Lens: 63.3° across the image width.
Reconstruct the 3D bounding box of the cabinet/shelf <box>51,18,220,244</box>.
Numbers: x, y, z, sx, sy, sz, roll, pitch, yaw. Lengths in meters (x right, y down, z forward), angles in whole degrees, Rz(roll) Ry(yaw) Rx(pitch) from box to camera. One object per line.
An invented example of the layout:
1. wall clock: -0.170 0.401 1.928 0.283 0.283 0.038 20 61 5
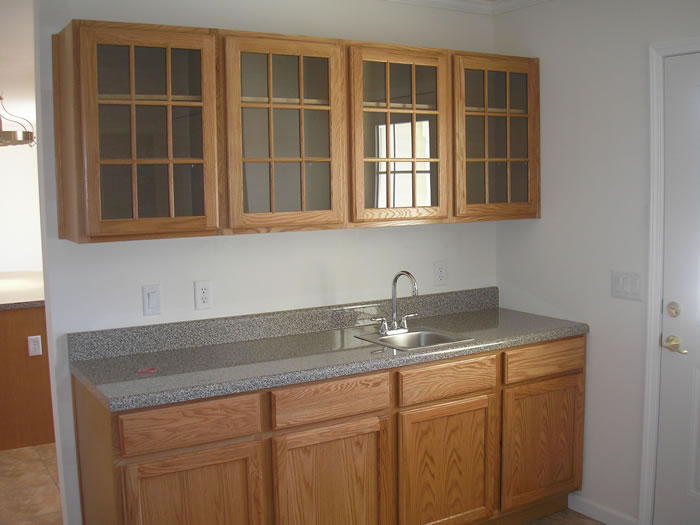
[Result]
1. cabinet/shelf: -0.876 -0.554 2.477 0.725 0.868 0.279 -3 8 -26
